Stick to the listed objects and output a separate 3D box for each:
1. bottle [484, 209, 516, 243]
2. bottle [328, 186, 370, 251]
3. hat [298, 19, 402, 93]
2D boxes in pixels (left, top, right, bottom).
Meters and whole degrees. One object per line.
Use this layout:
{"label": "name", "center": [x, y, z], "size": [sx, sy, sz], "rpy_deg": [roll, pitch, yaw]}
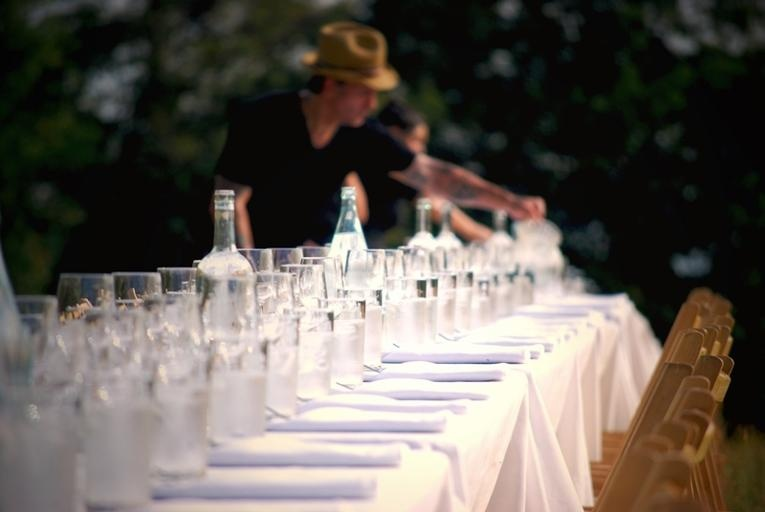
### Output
{"label": "bottle", "center": [0.890, -0.178, 9.744], "size": [0.179, 0.265, 0.740], "rpy_deg": [4, -1, 5]}
{"label": "bottle", "center": [-0.221, -0.200, 8.510], "size": [0.239, 0.443, 0.525], "rpy_deg": [4, 0, -3]}
{"label": "hat", "center": [-0.242, -1.478, 9.519], "size": [0.502, 0.333, 0.487], "rpy_deg": [8, 33, 0]}
